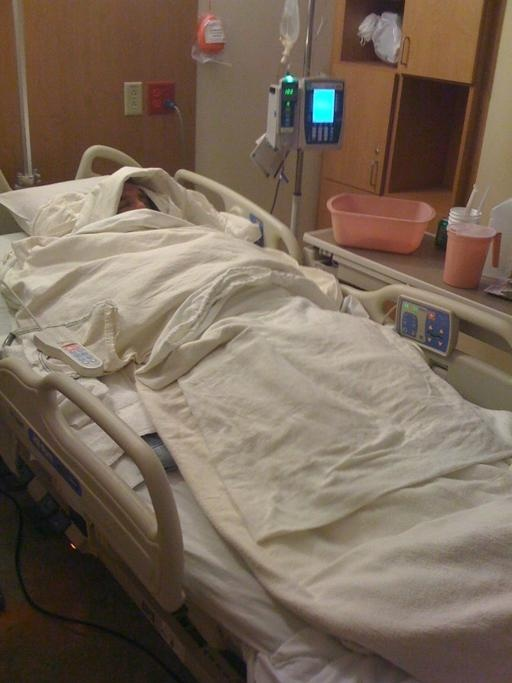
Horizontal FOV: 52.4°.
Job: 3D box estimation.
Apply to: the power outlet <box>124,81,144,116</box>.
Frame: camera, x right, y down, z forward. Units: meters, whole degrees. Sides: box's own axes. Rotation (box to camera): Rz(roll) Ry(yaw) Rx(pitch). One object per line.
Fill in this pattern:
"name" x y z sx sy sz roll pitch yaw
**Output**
"power outlet" -0.606 -1.190 2.574 0.025 0.156 0.111 23 28 38
